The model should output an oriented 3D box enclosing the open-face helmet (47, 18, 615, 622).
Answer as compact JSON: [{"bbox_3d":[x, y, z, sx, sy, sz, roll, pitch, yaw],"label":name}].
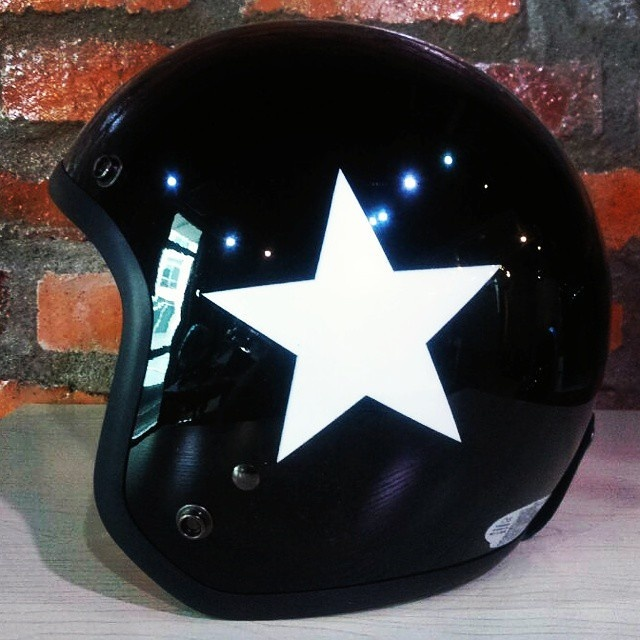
[{"bbox_3d":[0.001,-0.004,0.834,0.530,0.545,0.460,5,98,43],"label":"open-face helmet"}]
